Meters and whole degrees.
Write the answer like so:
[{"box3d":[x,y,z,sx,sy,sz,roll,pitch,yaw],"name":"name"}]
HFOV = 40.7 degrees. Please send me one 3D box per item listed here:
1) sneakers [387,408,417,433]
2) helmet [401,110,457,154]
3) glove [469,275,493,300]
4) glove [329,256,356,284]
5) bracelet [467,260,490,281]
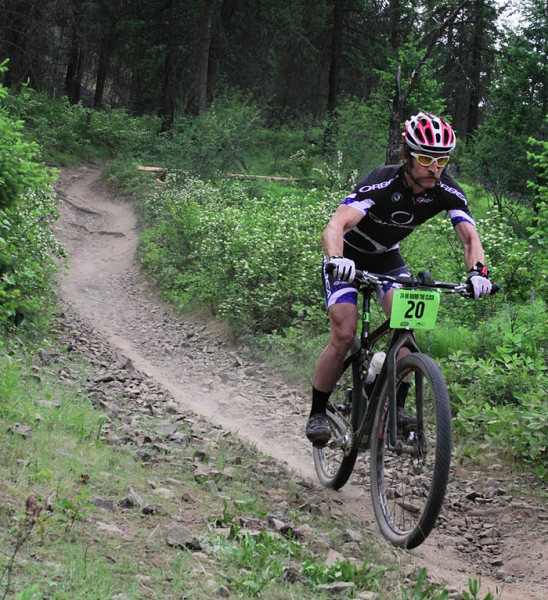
[{"box3d":[0.829,0.802,4.898,0.084,0.105,0.335,-4,13,-9],"name":"sneakers"},{"box3d":[1.097,-1.190,5.169,0.363,0.232,0.495,3,17,-4],"name":"helmet"},{"box3d":[1.375,-0.090,4.899,0.160,0.150,0.155,8,4,-6],"name":"glove"},{"box3d":[0.437,-0.205,4.813,0.200,0.136,0.177,9,4,4],"name":"glove"},{"box3d":[1.407,-0.209,5.074,0.132,0.107,0.150,25,-3,-19],"name":"bracelet"}]
